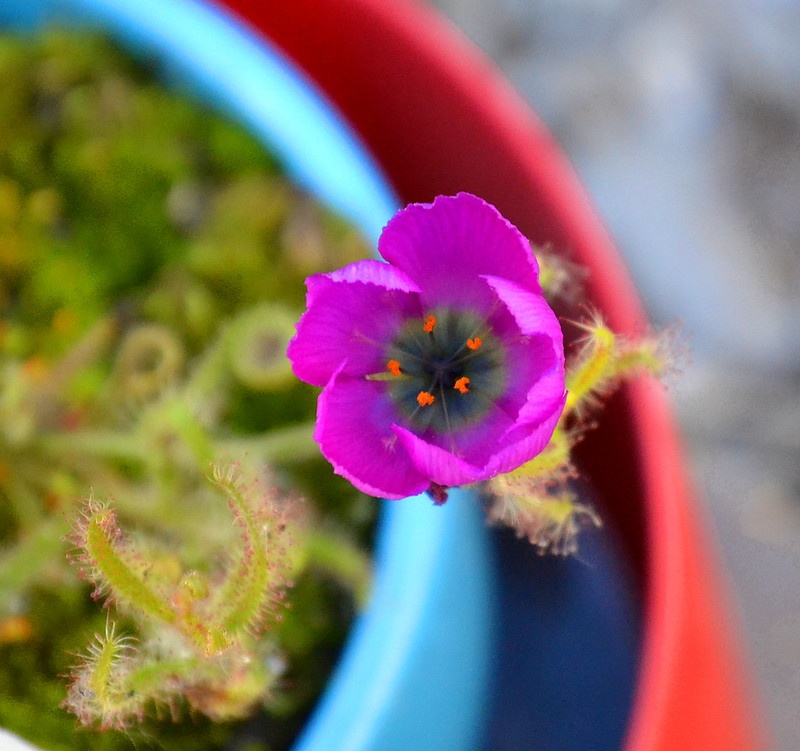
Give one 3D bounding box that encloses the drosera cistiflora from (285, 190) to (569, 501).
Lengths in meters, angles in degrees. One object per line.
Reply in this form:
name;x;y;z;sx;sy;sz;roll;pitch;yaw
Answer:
drosera cistiflora;0.037;-0.029;1.160;0.274;0.210;0.333;37;89;-2
